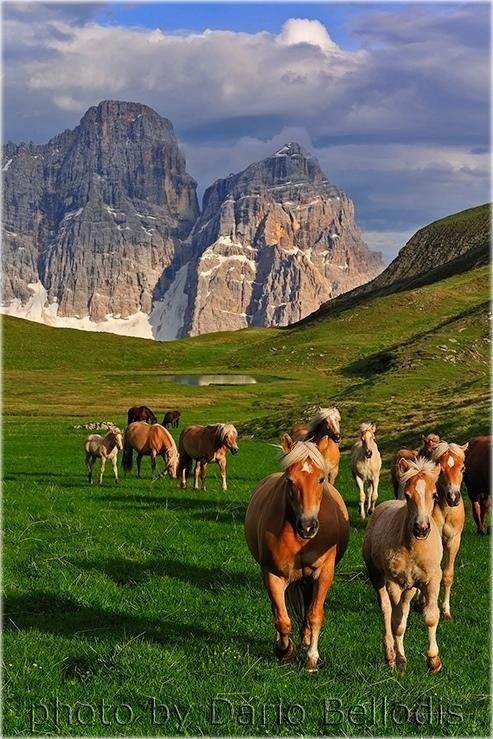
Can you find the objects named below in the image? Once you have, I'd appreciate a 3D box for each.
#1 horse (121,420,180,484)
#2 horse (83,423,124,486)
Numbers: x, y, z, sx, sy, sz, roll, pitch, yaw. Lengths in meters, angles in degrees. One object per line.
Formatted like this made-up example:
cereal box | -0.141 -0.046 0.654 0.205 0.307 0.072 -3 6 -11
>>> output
horse | -4.023 3.333 37.032 2.051 2.452 4.377 1 2 -24
horse | -5.607 3.334 34.883 0.688 2.124 2.831 0 -1 -42
